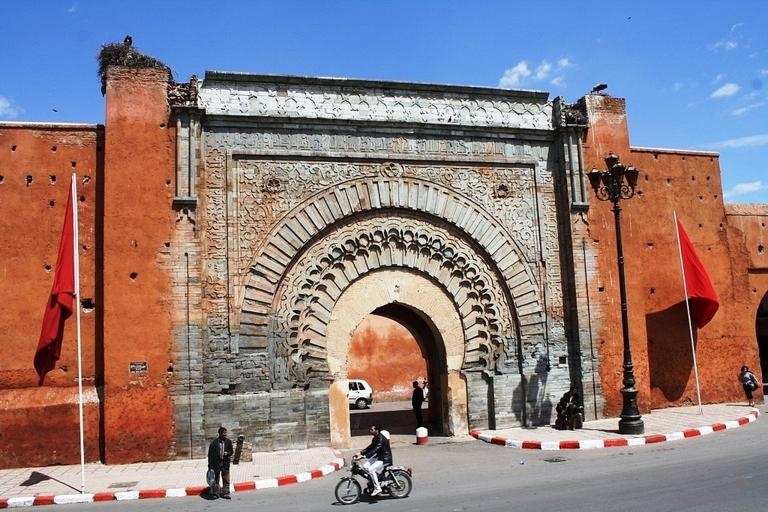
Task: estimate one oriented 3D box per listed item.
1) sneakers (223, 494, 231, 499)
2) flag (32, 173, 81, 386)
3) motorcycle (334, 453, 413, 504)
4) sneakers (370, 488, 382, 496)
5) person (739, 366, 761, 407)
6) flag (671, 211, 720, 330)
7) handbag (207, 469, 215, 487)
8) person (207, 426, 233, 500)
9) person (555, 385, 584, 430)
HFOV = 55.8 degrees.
[{"bbox_3d":[-2.952,4.513,13.657,0.152,0.076,0.159,-1,-13,-16],"label":"sneakers"},{"bbox_3d":[-6.809,0.368,15.260,0.675,4.254,1.939,4,-16,-32],"label":"flag"},{"bbox_3d":[-0.159,4.206,13.494,1.499,0.838,0.688,-1,-26,-7],"label":"motorcycle"},{"bbox_3d":[-0.116,4.285,13.244,0.161,0.171,0.236,-10,-14,23],"label":"sneakers"},{"bbox_3d":[9.766,3.454,19.451,0.434,1.089,1.340,-11,-14,24],"label":"person"},{"bbox_3d":[8.220,0.766,18.899,0.851,3.580,0.313,-2,33,26],"label":"flag"},{"bbox_3d":[-3.268,4.206,13.775,0.211,0.279,0.079,-3,-5,29],"label":"handbag"},{"bbox_3d":[-3.138,3.959,13.940,0.464,1.284,0.410,-4,-13,-4],"label":"person"},{"bbox_3d":[4.390,3.622,17.323,0.673,0.971,0.464,-4,-13,-4],"label":"person"}]
